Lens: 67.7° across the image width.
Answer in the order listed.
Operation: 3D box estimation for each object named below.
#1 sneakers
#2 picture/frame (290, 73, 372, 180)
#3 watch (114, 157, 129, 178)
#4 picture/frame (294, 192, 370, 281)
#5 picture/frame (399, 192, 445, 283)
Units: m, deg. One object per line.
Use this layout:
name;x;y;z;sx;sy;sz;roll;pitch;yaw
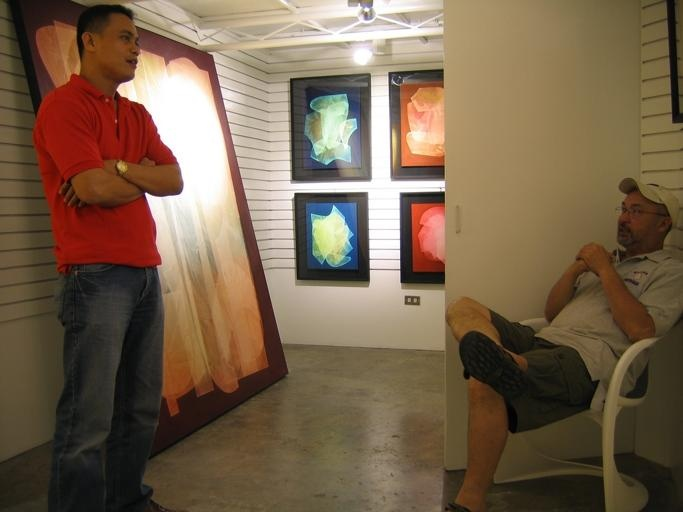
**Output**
sneakers;0.777;0.557;2.717;0.226;0.403;0.172;-41;-4;9
picture/frame;-0.156;-1.590;6.435;1.004;1.354;0.035;0;-11;7
watch;-1.153;-0.463;2.678;0.052;0.080;0.075;-18;-19;-34
picture/frame;-0.087;-0.264;6.482;0.997;1.256;0.061;-1;2;12
picture/frame;1.099;-0.199;6.217;0.751;1.146;0.047;1;19;10
